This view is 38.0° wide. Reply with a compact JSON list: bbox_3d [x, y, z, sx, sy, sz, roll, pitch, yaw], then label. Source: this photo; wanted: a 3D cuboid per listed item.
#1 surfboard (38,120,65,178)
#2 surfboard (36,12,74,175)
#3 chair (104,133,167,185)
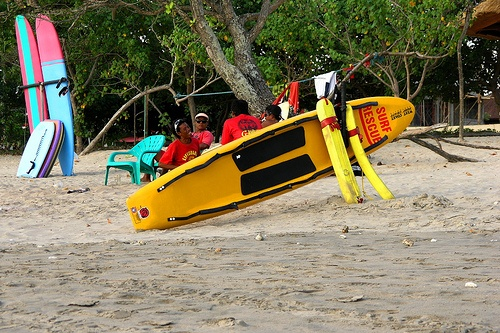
[{"bbox_3d":[-4.954,-0.387,18.246,0.772,1.153,0.141,-1,-24,41],"label":"surfboard"},{"bbox_3d":[-5.090,-1.998,19.112,0.917,4.637,0.569,-15,-14,27],"label":"surfboard"},{"bbox_3d":[-2.825,-0.118,16.633,1.326,0.943,1.004,-1,9,-19],"label":"chair"}]
